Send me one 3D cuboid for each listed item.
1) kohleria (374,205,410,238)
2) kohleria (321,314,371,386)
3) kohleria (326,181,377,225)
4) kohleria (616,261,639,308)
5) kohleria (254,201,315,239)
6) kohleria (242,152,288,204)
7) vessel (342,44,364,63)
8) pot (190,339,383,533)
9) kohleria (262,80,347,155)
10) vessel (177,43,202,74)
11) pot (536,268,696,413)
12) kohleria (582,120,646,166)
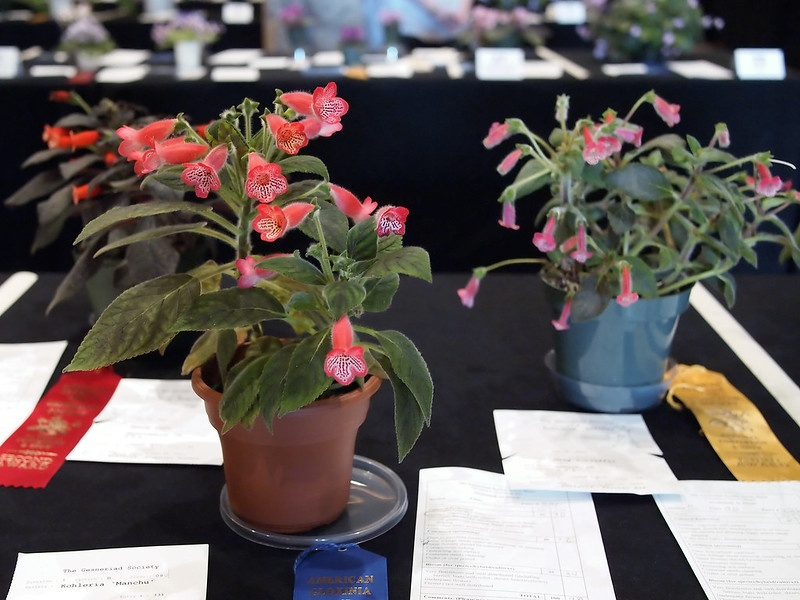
[{"bbox_3d":[-0.013,-0.103,0.910,0.043,0.048,0.033,-13,27,-17],"label":"kohleria"},{"bbox_3d":[-0.071,0.064,0.852,0.050,0.091,0.087,-7,26,-7],"label":"kohleria"},{"bbox_3d":[-0.065,-0.129,0.924,0.076,0.035,0.037,28,-20,-15],"label":"kohleria"},{"bbox_3d":[0.344,-0.022,1.035,0.031,0.063,0.024,-5,-14,12],"label":"kohleria"},{"bbox_3d":[-0.138,-0.099,0.842,0.043,0.030,0.068,-40,-15,34],"label":"kohleria"},{"bbox_3d":[-0.167,-0.148,0.849,0.047,0.063,0.066,-10,27,-13],"label":"kohleria"},{"bbox_3d":[-0.193,-0.990,2.783,0.088,0.082,0.103,0,-22,-2],"label":"vessel"},{"bbox_3d":[-0.161,0.174,0.941,0.227,0.200,0.237,2,14,-1],"label":"pot"},{"bbox_3d":[-0.120,-0.241,0.882,0.089,0.073,0.125,7,29,21],"label":"kohleria"},{"bbox_3d":[-0.798,-0.915,2.631,0.097,0.125,0.104,1,8,3],"label":"vessel"},{"bbox_3d":[0.374,0.091,1.251,0.224,0.216,0.228,-1,14,0],"label":"pot"},{"bbox_3d":[0.317,-0.223,1.029,0.070,0.034,0.073,0,6,35],"label":"kohleria"}]
